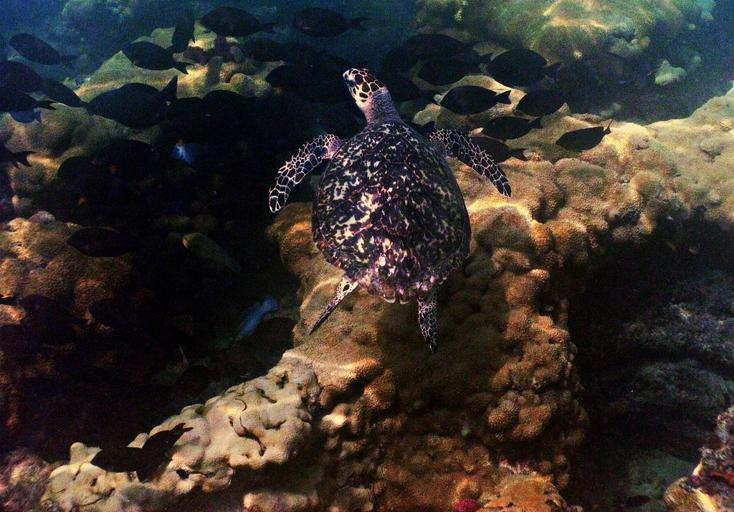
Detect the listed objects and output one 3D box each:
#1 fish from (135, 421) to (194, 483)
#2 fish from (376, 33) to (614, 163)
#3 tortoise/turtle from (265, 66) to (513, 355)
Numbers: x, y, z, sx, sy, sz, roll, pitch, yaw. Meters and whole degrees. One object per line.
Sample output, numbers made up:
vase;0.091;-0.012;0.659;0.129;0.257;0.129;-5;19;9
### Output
fish;-2.166;2.048;7.212;0.467;0.650;0.479;-1;100;13
fish;1.485;-2.140;8.699;2.231;0.721;2.298;-31;64;-15
tortoise/turtle;0.187;-0.408;7.814;2.607;0.782;2.974;-1;76;-4
